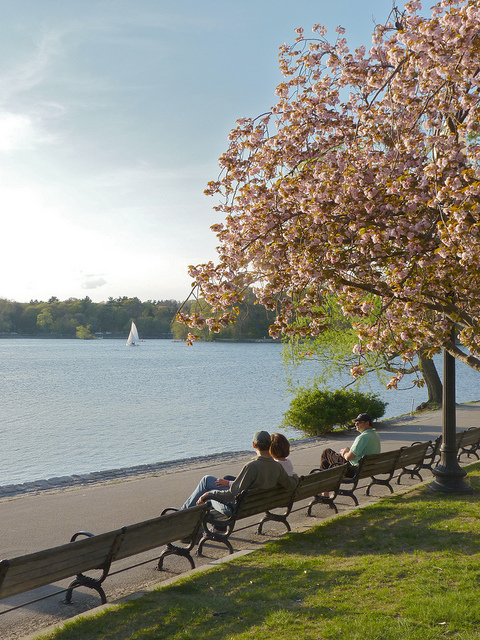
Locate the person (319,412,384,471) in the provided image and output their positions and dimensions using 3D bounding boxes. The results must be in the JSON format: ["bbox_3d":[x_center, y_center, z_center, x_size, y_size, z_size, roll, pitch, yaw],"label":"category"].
[{"bbox_3d":[1.608,1.699,9.630,0.774,0.799,0.796,4,-3,-7],"label":"person"}]

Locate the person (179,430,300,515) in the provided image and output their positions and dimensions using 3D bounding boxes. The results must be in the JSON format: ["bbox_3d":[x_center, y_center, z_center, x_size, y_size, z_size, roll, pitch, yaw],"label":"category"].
[{"bbox_3d":[-0.140,1.825,8.071,0.947,0.929,1.636,11,-17,-39],"label":"person"}]

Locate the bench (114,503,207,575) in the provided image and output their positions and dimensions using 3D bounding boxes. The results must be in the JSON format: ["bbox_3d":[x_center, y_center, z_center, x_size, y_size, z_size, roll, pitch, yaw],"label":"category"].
[{"bbox_3d":[-0.789,2.258,7.069,0.399,0.461,1.023,1,-4,33],"label":"bench"}]
